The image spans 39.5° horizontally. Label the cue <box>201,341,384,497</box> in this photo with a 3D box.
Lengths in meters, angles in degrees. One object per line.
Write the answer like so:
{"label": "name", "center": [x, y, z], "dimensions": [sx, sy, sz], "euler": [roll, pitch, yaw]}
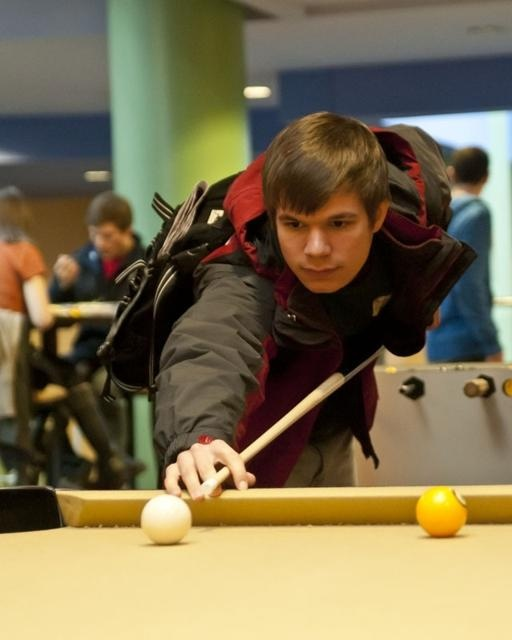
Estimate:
{"label": "cue", "center": [0.172, 0.121, 1.521], "dimensions": [0.087, 0.051, 1.064], "euler": [-40, -11, 38]}

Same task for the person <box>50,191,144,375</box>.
{"label": "person", "center": [-0.835, -0.300, 4.070], "dimensions": [0.604, 1.274, 0.523], "euler": [0, 16, 5]}

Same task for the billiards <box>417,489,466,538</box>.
{"label": "billiards", "center": [0.255, 0.266, 1.006], "dimensions": [0.078, 0.057, 0.071], "euler": [-1, 4, 8]}

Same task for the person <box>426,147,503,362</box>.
{"label": "person", "center": [1.045, -0.206, 3.809], "dimensions": [0.432, 1.391, 0.475], "euler": [8, 16, 26]}

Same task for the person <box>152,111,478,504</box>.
{"label": "person", "center": [0.018, 0.048, 1.445], "dimensions": [0.705, 0.855, 0.604], "euler": [8, 15, -1]}
